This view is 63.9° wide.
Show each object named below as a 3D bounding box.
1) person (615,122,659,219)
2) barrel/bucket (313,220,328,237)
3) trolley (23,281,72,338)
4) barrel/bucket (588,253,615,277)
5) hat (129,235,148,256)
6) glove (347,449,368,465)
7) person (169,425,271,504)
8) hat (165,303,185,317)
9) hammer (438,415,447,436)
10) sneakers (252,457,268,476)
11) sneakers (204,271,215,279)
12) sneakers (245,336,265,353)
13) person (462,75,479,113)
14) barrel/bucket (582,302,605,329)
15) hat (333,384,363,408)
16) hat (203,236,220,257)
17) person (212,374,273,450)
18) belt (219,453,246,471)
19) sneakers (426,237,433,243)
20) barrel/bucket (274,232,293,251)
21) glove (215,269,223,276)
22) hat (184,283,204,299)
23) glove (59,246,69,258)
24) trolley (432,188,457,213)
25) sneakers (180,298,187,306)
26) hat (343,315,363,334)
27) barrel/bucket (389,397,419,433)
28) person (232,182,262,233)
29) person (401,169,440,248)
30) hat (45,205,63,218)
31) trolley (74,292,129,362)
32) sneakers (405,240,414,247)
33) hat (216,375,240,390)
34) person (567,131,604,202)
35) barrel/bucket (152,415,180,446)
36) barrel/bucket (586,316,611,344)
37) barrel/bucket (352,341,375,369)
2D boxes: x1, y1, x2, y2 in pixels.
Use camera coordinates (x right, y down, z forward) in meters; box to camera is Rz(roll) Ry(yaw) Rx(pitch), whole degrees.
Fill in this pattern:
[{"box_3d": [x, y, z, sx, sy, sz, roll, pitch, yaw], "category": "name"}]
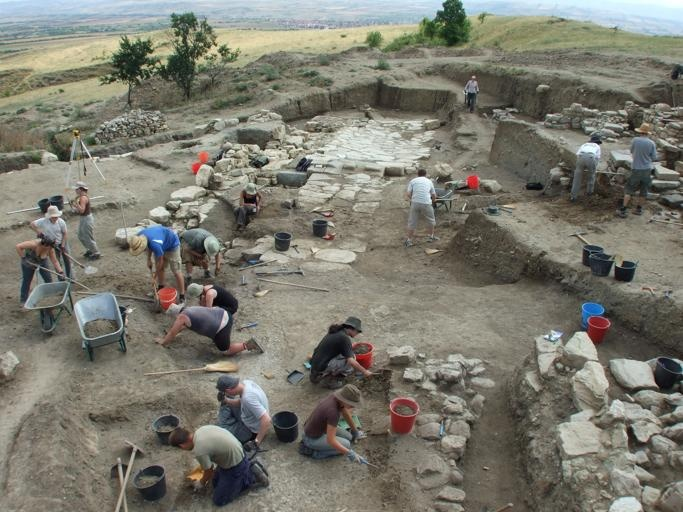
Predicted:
[{"box_3d": [5.739, -1.660, 10.537, 0.596, 1.672, 1.212, 17, 33, 22], "category": "person"}, {"box_3d": [-0.493, -0.621, 12.101, 0.402, 0.261, 0.360, 2, 33, 2], "category": "barrel/bucket"}, {"box_3d": [-4.639, 0.789, 8.727, 0.602, 0.384, 0.854, -5, 31, -13], "category": "trolley"}, {"box_3d": [4.166, 0.147, 8.863, 0.427, 0.344, 0.395, -1, 14, 0], "category": "barrel/bucket"}, {"box_3d": [-3.395, -0.165, 9.125, 0.291, 0.367, 0.239, -8, 32, -17], "category": "hat"}, {"box_3d": [0.190, 2.663, 7.182, 0.324, 0.079, 0.082, 31, 12, -7], "category": "glove"}, {"box_3d": [-1.505, 2.567, 6.900, 0.770, 0.918, 0.933, -25, 38, -39], "category": "person"}, {"box_3d": [-2.740, 0.879, 8.942, 0.241, 0.179, 0.270, -10, 25, -32], "category": "hat"}, {"box_3d": [1.346, 2.319, 7.384, 0.077, 0.063, 0.235, 14, 40, 4], "category": "hammer"}, {"box_3d": [-1.018, 2.735, 7.004, 0.096, 0.270, 0.161, -38, 7, 10], "category": "sneakers"}, {"box_3d": [-2.469, 0.355, 10.271, 0.240, 0.142, 0.074, -9, 41, -21], "category": "sneakers"}, {"box_3d": [-1.393, 1.434, 8.652, 0.198, 0.374, 0.126, -30, 31, 12], "category": "sneakers"}, {"box_3d": [4.542, -5.733, 19.305, 0.428, 1.166, 0.710, 8, 31, 9], "category": "person"}, {"box_3d": [3.814, 0.929, 8.332, 0.329, 0.238, 0.279, 25, 55, 33], "category": "barrel/bucket"}, {"box_3d": [0.054, 1.858, 7.158, 0.354, 0.370, 0.262, 18, 34, 26], "category": "hat"}, {"box_3d": [-2.364, -0.163, 9.792, 0.310, 0.309, 0.126, -9, -10, -26], "category": "hat"}, {"box_3d": [-1.342, 2.116, 7.240, 0.855, 1.116, 0.673, -1, 28, 2], "category": "person"}, {"box_3d": [-1.338, 2.574, 6.769, 0.329, 0.143, 0.100, -12, 33, -26], "category": "belt"}, {"box_3d": [1.919, -0.354, 12.018, 0.096, 0.067, 0.116, -2, 16, 0], "category": "sneakers"}, {"box_3d": [-1.212, -0.314, 11.176, 0.424, 0.275, 0.363, 1, 35, -8], "category": "barrel/bucket"}, {"box_3d": [-2.374, 0.320, 10.467, 0.142, 0.112, 0.084, 5, -7, -41], "category": "glove"}, {"box_3d": [-2.402, 0.612, 8.963, 0.246, 0.293, 0.372, -7, 29, -15], "category": "hat"}, {"box_3d": [-4.971, -0.084, 9.795, 0.182, 0.064, 0.195, 3, 43, -2], "category": "glove"}, {"box_3d": [2.400, -1.334, 12.855, 0.726, 0.407, 0.617, 4, 34, 9], "category": "trolley"}, {"box_3d": [-2.746, 0.809, 9.417, 0.082, 0.102, 0.113, 4, 6, 4], "category": "sneakers"}, {"box_3d": [0.209, 1.022, 8.069, 0.295, 0.130, 0.267, 27, -15, -22], "category": "hat"}, {"box_3d": [0.836, 2.153, 7.479, 0.496, 0.296, 0.436, -4, 21, -12], "category": "barrel/bucket"}, {"box_3d": [-2.180, -1.111, 12.264, 0.542, 0.921, 0.813, 4, 29, 3], "category": "person"}, {"box_3d": [1.744, -1.086, 11.893, 0.741, 1.616, 1.127, 6, 30, 6], "category": "person"}, {"box_3d": [-5.025, -0.769, 9.445, 0.276, 0.119, 0.228, 10, 24, 15], "category": "hat"}, {"box_3d": [-3.700, 1.037, 8.338, 0.689, 0.421, 0.907, -16, 46, -25], "category": "trolley"}, {"box_3d": [1.440, -0.261, 11.870, 0.177, 0.167, 0.453, 0, 3, 9], "category": "sneakers"}, {"box_3d": [-1.498, 1.648, 7.170, 0.279, 0.118, 0.167, -17, 15, -4], "category": "hat"}, {"box_3d": [5.100, -1.835, 11.435, 0.519, 1.238, 1.000, 15, 32, 19], "category": "person"}, {"box_3d": [-2.377, 2.406, 7.472, 0.464, 0.278, 0.370, 8, 33, 2], "category": "barrel/bucket"}, {"box_3d": [3.775, 1.113, 8.099, 0.297, 0.286, 0.296, -6, 38, 5], "category": "barrel/bucket"}, {"box_3d": [0.324, 1.542, 8.441, 0.416, 0.241, 0.349, 2, 20, 7], "category": "barrel/bucket"}]
